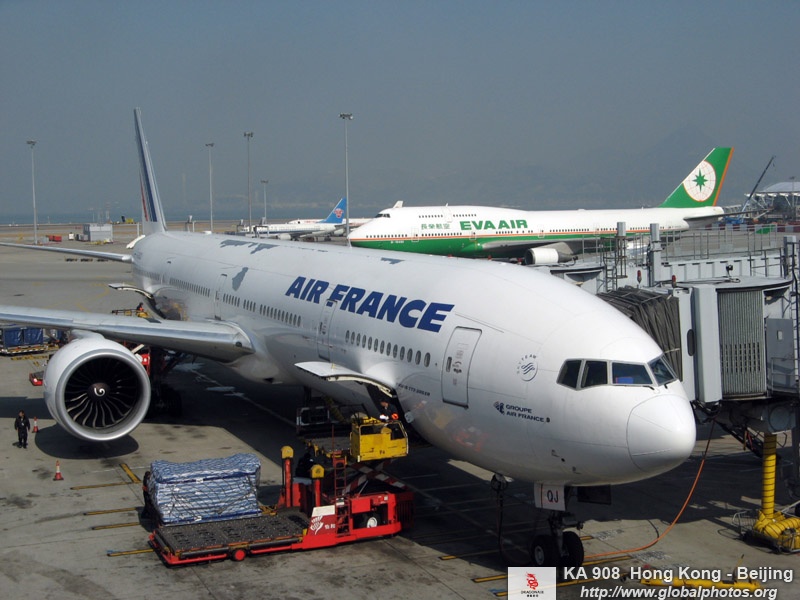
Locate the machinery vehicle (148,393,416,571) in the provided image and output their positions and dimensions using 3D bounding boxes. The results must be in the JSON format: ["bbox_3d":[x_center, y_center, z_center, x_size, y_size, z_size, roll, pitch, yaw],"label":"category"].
[{"bbox_3d":[-2.878,4.482,21.597,5.930,2.220,2.784,-6,1,-16],"label":"machinery vehicle"}]

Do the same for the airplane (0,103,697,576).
[{"bbox_3d":[-7.057,-1.186,28.444,9.905,10.205,31.809,-6,12,-32],"label":"airplane"}]
